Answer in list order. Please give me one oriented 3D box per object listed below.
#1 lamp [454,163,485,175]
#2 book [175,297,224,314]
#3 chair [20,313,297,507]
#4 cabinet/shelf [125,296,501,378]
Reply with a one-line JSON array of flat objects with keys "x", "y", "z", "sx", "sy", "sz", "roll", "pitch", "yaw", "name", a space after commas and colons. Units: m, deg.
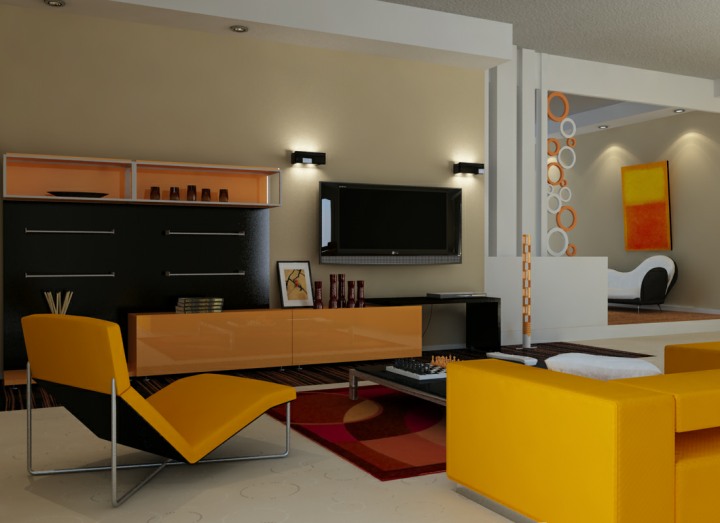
[{"x": 1.336, "y": -1.154, "z": 6.813, "sx": 0.402, "sy": 0.131, "sz": 0.133, "roll": -1, "pitch": -3, "yaw": -15, "name": "lamp"}, {"x": -1.562, "y": 0.422, "z": 5.360, "sx": 0.423, "sy": 0.140, "sz": 0.154, "roll": -1, "pitch": 3, "yaw": -18, "name": "book"}, {"x": -1.147, "y": 0.763, "z": 3.248, "sx": 0.922, "sy": 0.850, "sz": 1.269, "roll": -2, "pitch": -6, "yaw": 36, "name": "chair"}, {"x": -0.353, "y": 0.773, "z": 5.950, "sx": 3.857, "sy": 0.747, "sz": 0.518, "roll": -1, "pitch": -1, "yaw": -13, "name": "cabinet/shelf"}]
